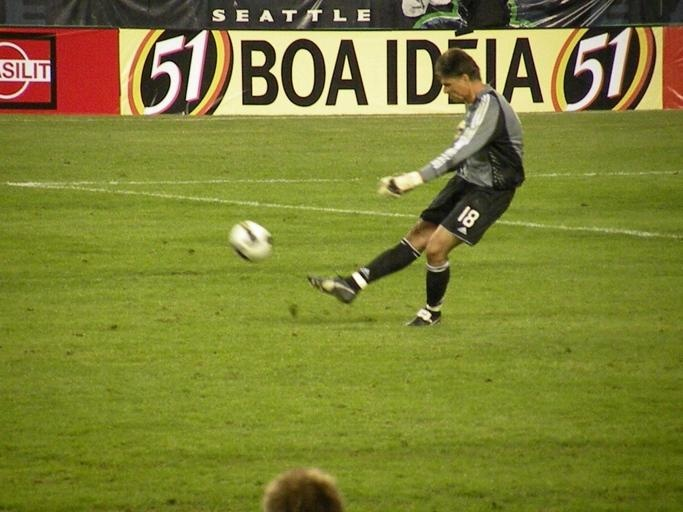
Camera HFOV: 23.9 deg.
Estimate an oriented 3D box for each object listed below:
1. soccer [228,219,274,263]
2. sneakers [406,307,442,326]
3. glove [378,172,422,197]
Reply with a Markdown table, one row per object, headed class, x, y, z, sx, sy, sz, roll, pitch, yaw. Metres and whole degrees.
| class | x | y | z | sx | sy | sz | roll | pitch | yaw |
| --- | --- | --- | --- | --- | --- | --- | --- | --- | --- |
| soccer | -1.204 | -0.167 | 21.051 | 0.556 | 0.372 | 0.474 | 36 | 5 | -37 |
| sneakers | 1.076 | 0.746 | 20.509 | 0.482 | 0.178 | 0.183 | -6 | -6 | -14 |
| glove | 0.733 | -0.887 | 19.977 | 0.462 | 0.274 | 0.191 | -7 | -22 | 4 |
